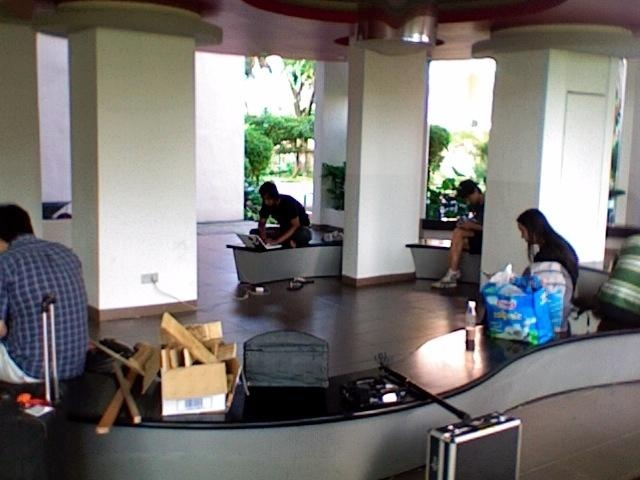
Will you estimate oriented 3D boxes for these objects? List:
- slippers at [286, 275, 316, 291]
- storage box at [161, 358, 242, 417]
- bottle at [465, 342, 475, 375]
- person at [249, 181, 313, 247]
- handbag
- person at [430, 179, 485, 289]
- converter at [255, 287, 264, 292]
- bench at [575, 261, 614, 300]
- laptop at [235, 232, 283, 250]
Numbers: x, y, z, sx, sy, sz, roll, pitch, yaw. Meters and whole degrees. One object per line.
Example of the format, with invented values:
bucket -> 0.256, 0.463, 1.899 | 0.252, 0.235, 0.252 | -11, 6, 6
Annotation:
slippers -> -0.290, 0.586, 7.256 | 0.231, 0.076, 0.172 | -11, 17, -35
storage box -> -0.722, 0.877, 3.148 | 0.328, 0.337, 0.103 | -4, 6, -9
bottle -> 1.133, 0.913, 4.064 | 0.059, 0.206, 0.051 | -8, 35, -5
person -> -0.525, -0.285, 7.699 | 0.870, 0.968, 0.972 | 5, -11, -40
handbag -> 1.654, 0.556, 4.536 | 0.683, 0.706, 0.420 | 0, 7, 33
person -> 1.994, -0.121, 7.665 | 0.589, 1.495, 1.360 | 4, 9, 15
converter -> -0.784, 0.645, 6.901 | 0.121, 0.052, 0.139 | 0, 9, -7
bench -> 3.027, 0.472, 5.930 | 0.213, 0.379, 0.378 | -7, 25, -20
laptop -> -0.814, 0.025, 7.314 | 0.307, 0.190, 0.316 | -9, 13, -44
